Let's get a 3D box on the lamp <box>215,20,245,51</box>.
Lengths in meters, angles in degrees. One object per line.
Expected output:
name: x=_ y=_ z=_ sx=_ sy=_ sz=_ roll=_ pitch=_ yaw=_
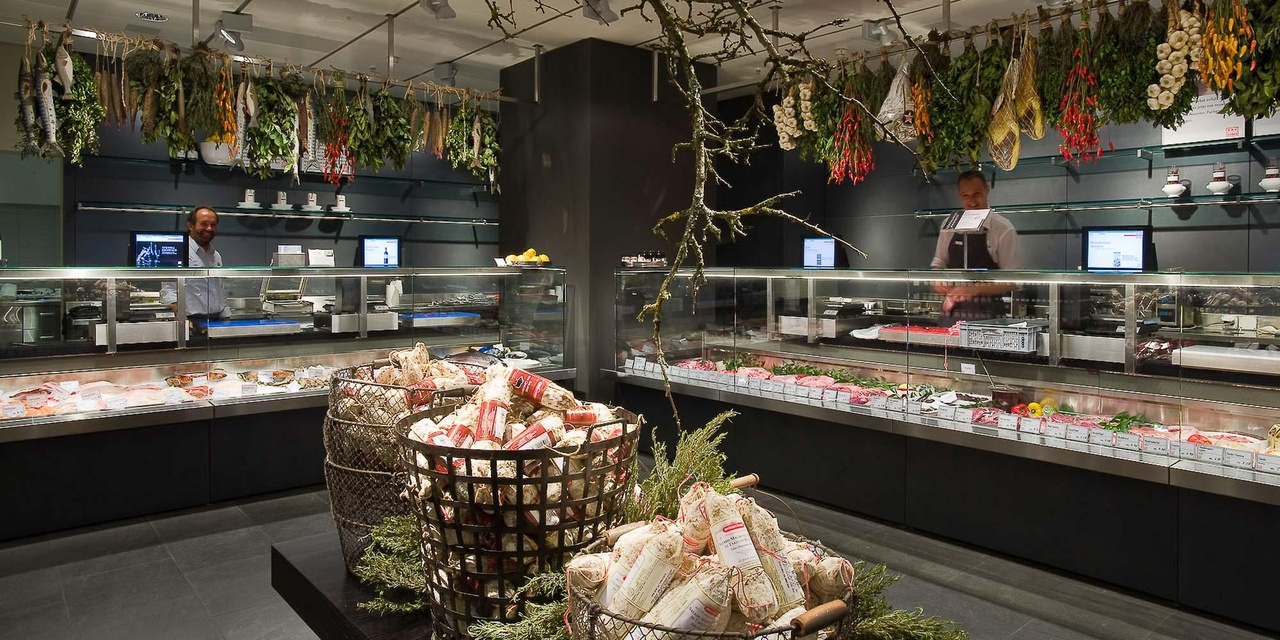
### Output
lamp: x=-3.888 y=-2.690 z=7.085 sx=0.208 sy=0.263 sz=0.188 roll=-5 pitch=8 yaw=-29

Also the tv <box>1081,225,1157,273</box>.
tv: x=5.480 y=-0.807 z=8.417 sx=0.490 sy=0.497 sz=0.785 roll=-2 pitch=6 yaw=-19

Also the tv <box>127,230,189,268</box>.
tv: x=-5.267 y=-0.766 z=8.141 sx=0.629 sy=0.353 sz=0.314 roll=6 pitch=-15 yaw=-28

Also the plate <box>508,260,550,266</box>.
plate: x=-1.190 y=-0.618 z=8.039 sx=0.494 sy=0.063 sz=0.195 roll=-6 pitch=8 yaw=-40

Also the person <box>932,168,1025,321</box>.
person: x=3.196 y=-0.712 z=6.995 sx=0.637 sy=1.800 sz=0.909 roll=-3 pitch=3 yaw=9

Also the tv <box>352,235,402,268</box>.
tv: x=-3.515 y=-0.915 z=9.901 sx=0.768 sy=0.561 sz=0.321 roll=0 pitch=-2 yaw=-28

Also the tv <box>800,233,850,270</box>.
tv: x=2.223 y=-0.846 z=9.146 sx=0.876 sy=0.500 sz=0.453 roll=0 pitch=3 yaw=-2

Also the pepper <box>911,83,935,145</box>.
pepper: x=2.283 y=-1.705 z=6.080 sx=0.146 sy=0.452 sz=0.061 roll=0 pitch=7 yaw=12
